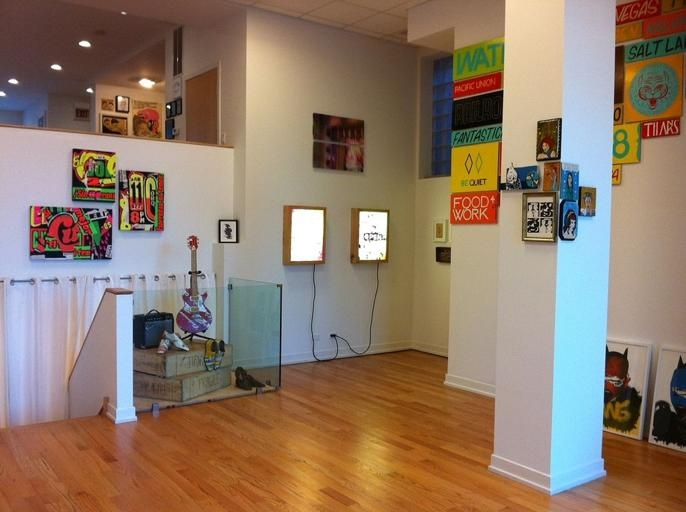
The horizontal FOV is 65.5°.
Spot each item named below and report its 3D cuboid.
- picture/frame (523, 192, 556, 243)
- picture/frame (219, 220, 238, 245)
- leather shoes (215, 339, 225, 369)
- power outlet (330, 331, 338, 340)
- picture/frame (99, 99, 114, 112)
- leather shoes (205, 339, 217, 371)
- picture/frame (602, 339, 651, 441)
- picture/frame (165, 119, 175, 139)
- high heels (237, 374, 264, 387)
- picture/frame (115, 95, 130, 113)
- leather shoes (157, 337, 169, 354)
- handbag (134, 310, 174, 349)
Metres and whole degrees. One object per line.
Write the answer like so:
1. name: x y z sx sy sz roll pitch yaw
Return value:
1. picture/frame: 1.450 -0.282 3.914 0.046 0.500 0.331 1 0 -43
2. picture/frame: -1.466 -0.298 6.755 0.266 0.362 0.023 3 -11 -21
3. leather shoes: -1.340 1.060 5.802 0.103 0.300 0.090 12 8 39
4. power outlet: -0.133 1.120 7.395 0.103 0.063 0.076 -3 4 -16
5. picture/frame: -4.883 -3.103 10.943 0.270 0.280 0.040 5 -9 -30
6. leather shoes: -1.423 1.050 5.707 0.106 0.302 0.151 8 6 35
7. picture/frame: 2.613 1.220 4.931 0.362 0.847 0.254 4 5 32
8. picture/frame: -2.614 -1.929 8.036 0.035 0.383 0.353 3 -3 -35
9. high heels: -1.003 1.383 5.905 0.326 0.146 0.115 -1 6 10
10. picture/frame: -4.543 -3.116 10.938 0.368 0.469 0.070 1 -2 -40
11. leather shoes: -1.816 0.904 5.383 0.061 0.079 0.190 6 12 -4
12. handbag: -1.928 0.737 5.401 0.182 0.371 0.376 2 1 30
